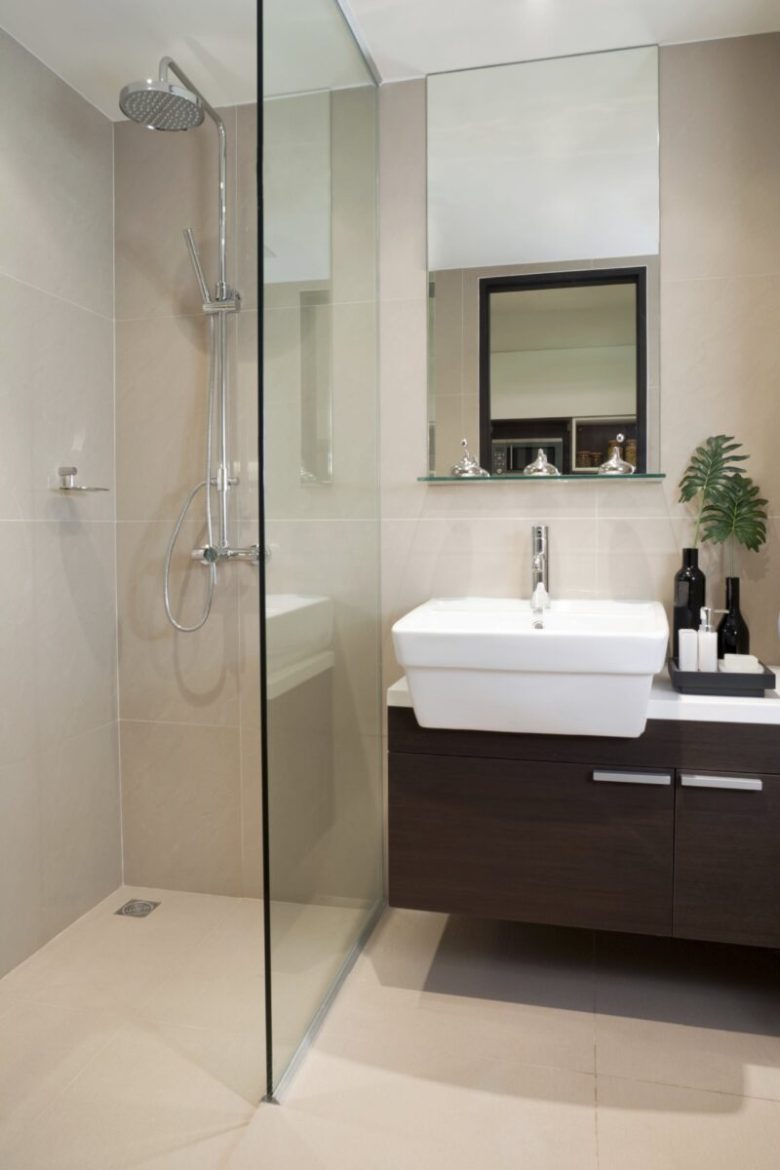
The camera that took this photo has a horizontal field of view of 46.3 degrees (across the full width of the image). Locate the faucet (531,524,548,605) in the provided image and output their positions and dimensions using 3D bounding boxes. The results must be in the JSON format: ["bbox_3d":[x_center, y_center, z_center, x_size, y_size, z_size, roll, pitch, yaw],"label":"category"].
[{"bbox_3d":[0.359,-0.044,2.177,0.043,0.192,0.171,1,6,9],"label":"faucet"}]

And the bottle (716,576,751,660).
[{"bbox_3d":[0.776,0.069,2.066,0.063,0.177,0.124,1,6,17],"label":"bottle"}]

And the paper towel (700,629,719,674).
[{"bbox_3d":[0.656,0.135,1.885,0.035,0.079,0.024,1,5,11],"label":"paper towel"}]

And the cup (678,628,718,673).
[{"bbox_3d":[0.640,0.134,1.896,0.069,0.164,0.079,0,-4,12],"label":"cup"}]

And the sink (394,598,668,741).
[{"bbox_3d":[0.299,0.180,1.941,0.533,0.248,0.503,1,6,14],"label":"sink"}]
